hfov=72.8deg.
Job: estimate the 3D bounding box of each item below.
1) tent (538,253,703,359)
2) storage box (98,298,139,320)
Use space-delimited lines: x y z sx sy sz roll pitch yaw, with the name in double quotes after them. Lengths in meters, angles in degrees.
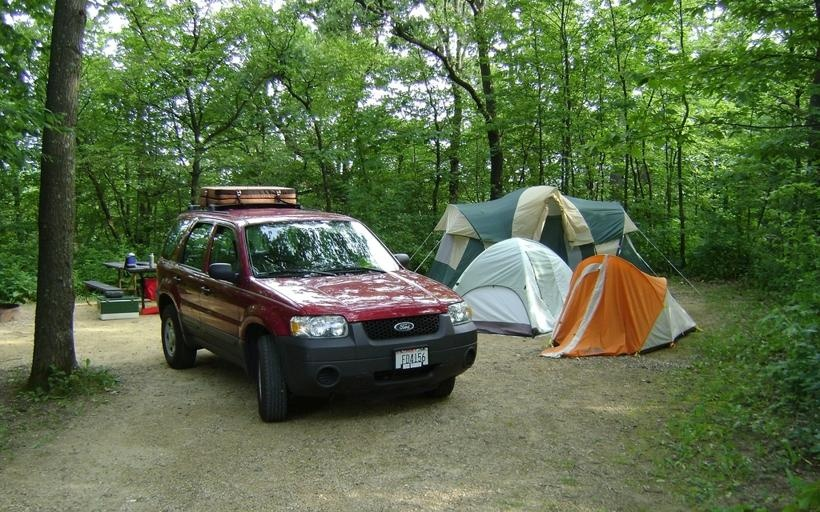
3.850 0.951 10.506 2.686 1.169 1.679 -4 3 -39 "tent"
-7.022 1.269 13.488 0.849 0.479 0.598 -1 6 -30 "storage box"
